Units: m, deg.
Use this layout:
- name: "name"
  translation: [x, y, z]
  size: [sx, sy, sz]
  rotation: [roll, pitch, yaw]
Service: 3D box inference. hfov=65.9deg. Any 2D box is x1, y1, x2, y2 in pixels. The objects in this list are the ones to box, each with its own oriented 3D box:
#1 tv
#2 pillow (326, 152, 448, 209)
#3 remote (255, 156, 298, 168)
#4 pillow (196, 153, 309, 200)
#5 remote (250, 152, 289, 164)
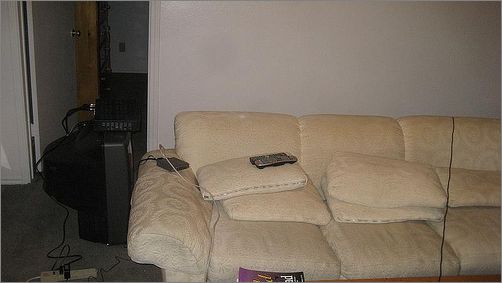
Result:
- name: "tv"
  translation: [-1.305, 0.324, 3.601]
  size: [0.991, 0.914, 1.116]
  rotation: [0, 19, -20]
- name: "pillow"
  translation: [1.090, 0.337, 3.166]
  size: [0.772, 0.187, 0.476]
  rotation: [3, 32, -2]
- name: "remote"
  translation: [0.186, 0.161, 3.143]
  size: [0.273, 0.035, 0.122]
  rotation: [-3, 20, -10]
- name: "pillow"
  translation: [-0.004, 0.284, 3.063]
  size: [0.717, 0.145, 0.364]
  rotation: [-3, 43, -7]
- name: "remote"
  translation: [0.153, 0.138, 3.161]
  size: [0.223, 0.025, 0.112]
  rotation: [-4, 24, -11]
